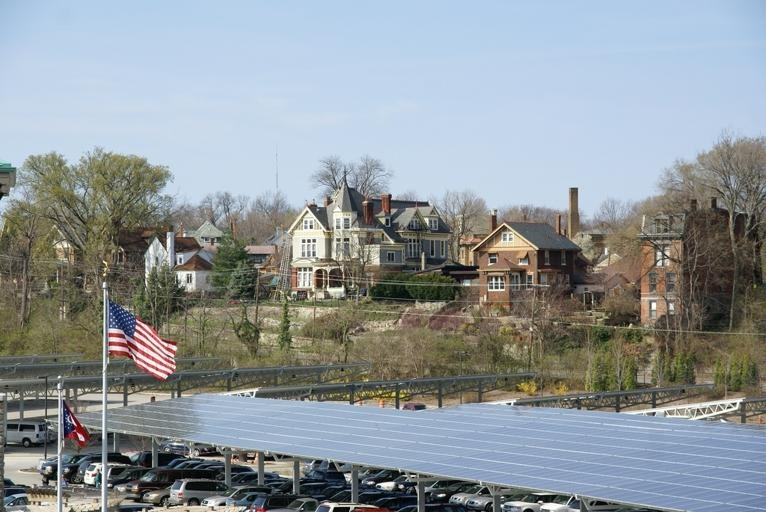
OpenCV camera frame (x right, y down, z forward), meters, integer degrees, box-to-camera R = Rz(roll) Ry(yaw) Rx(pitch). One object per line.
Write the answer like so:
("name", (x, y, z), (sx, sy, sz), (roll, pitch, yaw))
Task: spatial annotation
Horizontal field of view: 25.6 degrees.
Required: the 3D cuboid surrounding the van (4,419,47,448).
("van", (-31.785, 16.039, 150.939), (4.401, 1.959, 2.497), (3, -1, 11))
